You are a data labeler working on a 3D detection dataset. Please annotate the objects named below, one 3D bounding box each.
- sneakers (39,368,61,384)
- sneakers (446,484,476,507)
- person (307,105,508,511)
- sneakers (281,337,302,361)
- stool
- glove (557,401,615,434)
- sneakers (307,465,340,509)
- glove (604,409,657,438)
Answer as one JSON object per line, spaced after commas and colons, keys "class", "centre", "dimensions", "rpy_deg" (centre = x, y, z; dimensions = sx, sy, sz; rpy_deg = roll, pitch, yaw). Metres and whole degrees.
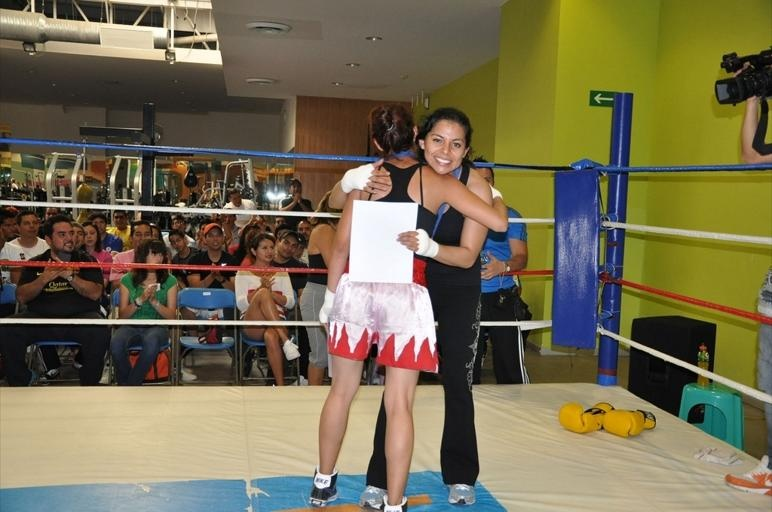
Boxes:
{"class": "sneakers", "centre": [-2.800, 1.003, 5.385], "dimensions": [0.101, 0.052, 0.142], "rpy_deg": [-2, 6, 0]}
{"class": "sneakers", "centre": [0.391, 1.227, 3.297], "dimensions": [0.108, 0.057, 0.112], "rpy_deg": [2, -10, 1]}
{"class": "person", "centre": [0.125, 0.268, 3.217], "dimensions": [0.939, 2.012, 0.413], "rpy_deg": [1, 4, -8]}
{"class": "sneakers", "centre": [-0.768, 0.753, 5.229], "dimensions": [0.101, 0.100, 0.234], "rpy_deg": [-12, 5, -17]}
{"class": "stool", "centre": [2.358, 1.165, 4.433], "dimensions": [0.498, 0.461, 0.505], "rpy_deg": [4, -13, 19]}
{"class": "glove", "centre": [1.209, 0.956, 3.922], "dimensions": [0.258, 0.100, 0.186], "rpy_deg": [-4, 1, -31]}
{"class": "sneakers", "centre": [-0.316, 1.181, 3.251], "dimensions": [0.088, 0.138, 0.238], "rpy_deg": [2, -3, 6]}
{"class": "glove", "centre": [1.473, 0.998, 3.894], "dimensions": [0.238, 0.102, 0.174], "rpy_deg": [-1, 2, -26]}
